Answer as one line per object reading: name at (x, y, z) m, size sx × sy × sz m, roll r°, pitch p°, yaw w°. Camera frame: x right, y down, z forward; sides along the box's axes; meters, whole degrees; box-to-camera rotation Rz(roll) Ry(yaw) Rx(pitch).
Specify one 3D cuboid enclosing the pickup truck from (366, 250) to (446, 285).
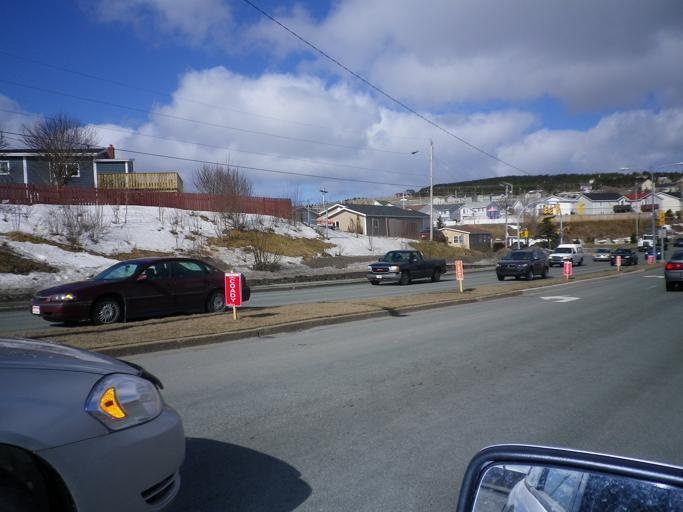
pickup truck at (3.273, 0.531, 28.066) m, size 3.960 × 1.581 × 1.462 m, roll -3°, pitch 4°, yaw -43°
